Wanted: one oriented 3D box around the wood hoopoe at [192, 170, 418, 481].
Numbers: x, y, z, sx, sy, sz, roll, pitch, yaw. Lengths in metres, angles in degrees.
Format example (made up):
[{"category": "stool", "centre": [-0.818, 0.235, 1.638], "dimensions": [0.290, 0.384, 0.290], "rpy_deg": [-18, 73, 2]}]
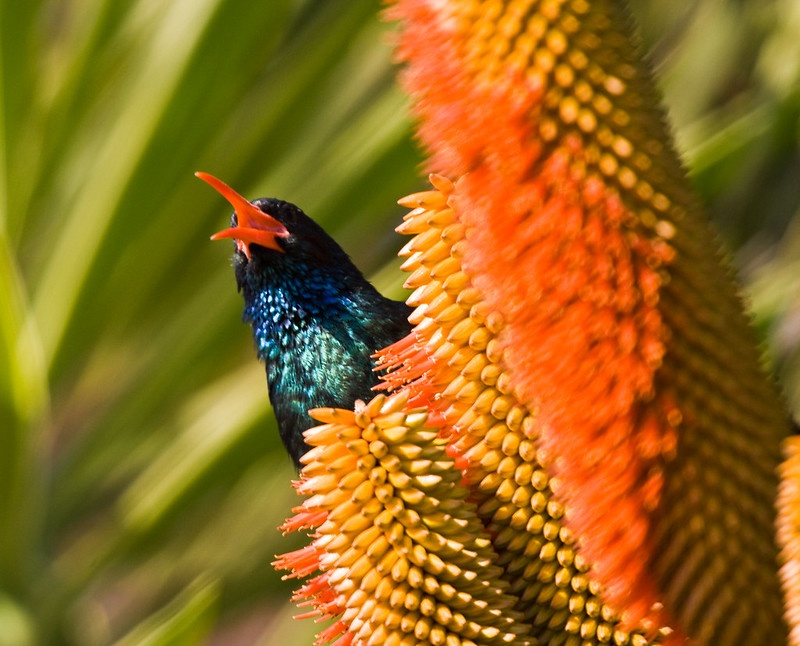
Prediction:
[{"category": "wood hoopoe", "centre": [-0.132, 0.007, 1.715], "dimensions": [0.353, 0.486, 0.188], "rpy_deg": [-10, -43, -14]}]
